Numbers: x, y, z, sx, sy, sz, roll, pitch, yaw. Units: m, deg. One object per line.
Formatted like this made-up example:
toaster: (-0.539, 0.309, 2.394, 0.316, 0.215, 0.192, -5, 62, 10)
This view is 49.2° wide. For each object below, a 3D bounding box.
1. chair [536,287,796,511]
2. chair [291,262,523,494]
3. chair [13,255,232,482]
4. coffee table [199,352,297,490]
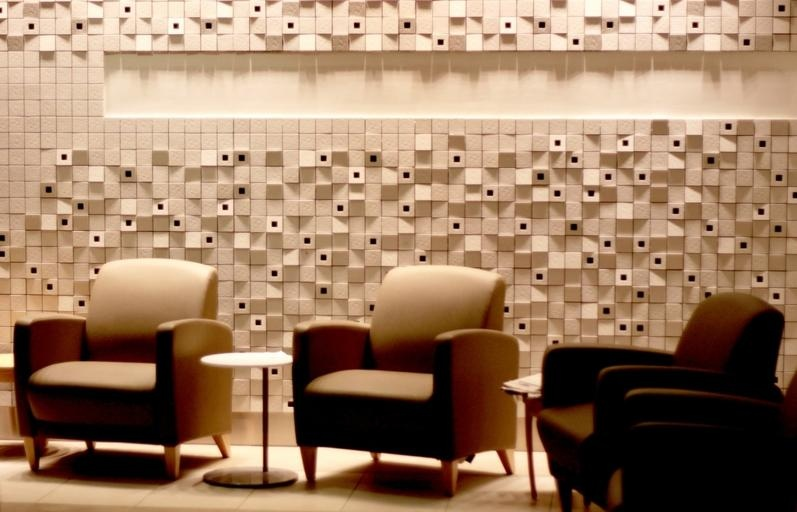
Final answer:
chair: (1.357, 0.768, 5.382, 1.445, 1.573, 1.175, 1, -2, -10)
chair: (0.062, 0.773, 5.759, 1.320, 1.343, 1.162, -1, -1, 24)
chair: (-1.821, 0.726, 5.920, 1.176, 1.317, 1.046, 0, 2, 12)
coffee table: (-0.901, 1.049, 5.574, 0.753, 0.838, 0.743, 0, -4, 10)
